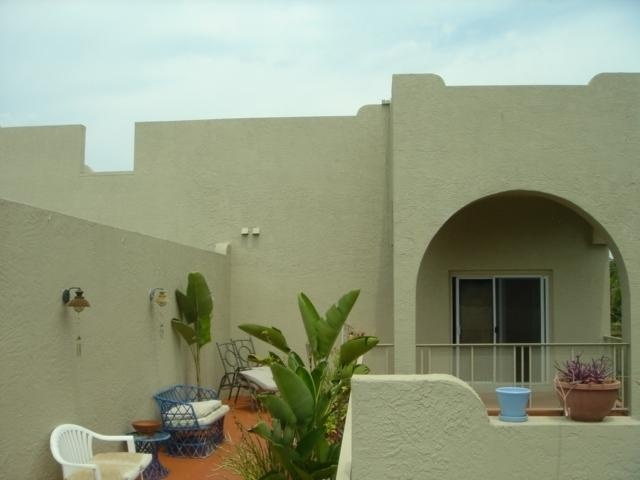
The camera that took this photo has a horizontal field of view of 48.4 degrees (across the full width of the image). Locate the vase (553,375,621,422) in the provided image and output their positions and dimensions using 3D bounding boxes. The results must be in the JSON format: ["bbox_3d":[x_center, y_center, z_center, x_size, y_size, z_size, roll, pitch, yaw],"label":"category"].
[{"bbox_3d":[3.689,2.203,9.960,1.034,0.548,1.092,-3,-4,39],"label":"vase"}]

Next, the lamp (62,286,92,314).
[{"bbox_3d":[-3.435,0.832,10.084,0.369,0.414,0.296,-6,-10,36],"label":"lamp"}]

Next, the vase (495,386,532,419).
[{"bbox_3d":[2.533,2.164,9.348,0.399,0.344,0.424,-1,-20,2],"label":"vase"}]

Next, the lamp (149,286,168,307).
[{"bbox_3d":[-2.728,0.989,12.444,0.279,0.339,0.590,-2,-8,3],"label":"lamp"}]
